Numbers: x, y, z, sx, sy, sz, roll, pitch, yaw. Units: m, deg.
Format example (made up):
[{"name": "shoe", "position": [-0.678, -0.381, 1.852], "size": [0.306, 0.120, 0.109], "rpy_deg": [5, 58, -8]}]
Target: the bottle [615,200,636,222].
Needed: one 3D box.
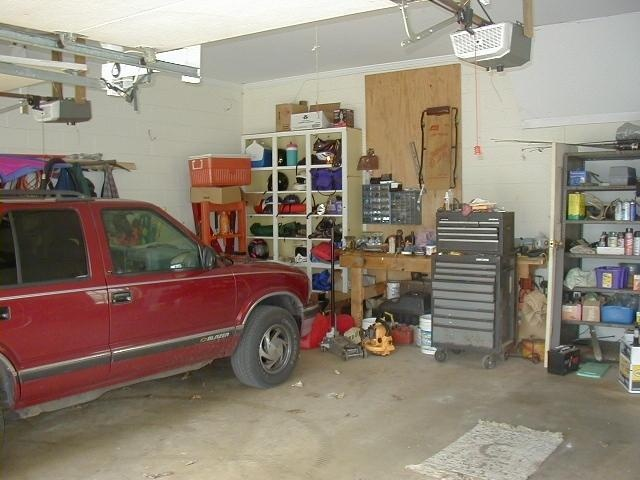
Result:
[{"name": "bottle", "position": [3.112, -0.306, 5.095], "size": [0.240, 0.204, 0.224], "rpy_deg": [2, 2, 25]}]

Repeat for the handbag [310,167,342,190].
[{"name": "handbag", "position": [0.106, -0.919, 7.466], "size": [0.446, 0.352, 0.160], "rpy_deg": [3, 9, 21]}]

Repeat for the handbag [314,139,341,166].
[{"name": "handbag", "position": [0.183, -1.327, 7.571], "size": [0.545, 0.369, 0.369], "rpy_deg": [0, -7, 7]}]

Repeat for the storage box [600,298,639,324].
[{"name": "storage box", "position": [3.137, 0.751, 5.221], "size": [0.295, 0.226, 0.278], "rpy_deg": [4, 8, 38]}]

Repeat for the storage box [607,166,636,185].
[{"name": "storage box", "position": [3.186, -0.670, 5.279], "size": [0.228, 0.221, 0.400], "rpy_deg": [-2, 1, 44]}]

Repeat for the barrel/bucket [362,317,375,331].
[{"name": "barrel/bucket", "position": [0.583, 1.014, 6.042], "size": [0.162, 0.091, 0.142], "rpy_deg": [-2, 6, 3]}]

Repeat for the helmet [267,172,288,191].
[{"name": "helmet", "position": [-0.662, -0.945, 8.056], "size": [0.394, 0.312, 0.274], "rpy_deg": [3, -4, -22]}]

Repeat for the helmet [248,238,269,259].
[{"name": "helmet", "position": [-1.004, 0.163, 8.199], "size": [0.451, 0.336, 0.314], "rpy_deg": [-8, 18, -17]}]

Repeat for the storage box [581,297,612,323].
[{"name": "storage box", "position": [2.898, 0.730, 5.334], "size": [0.359, 0.293, 0.248], "rpy_deg": [2, 6, 33]}]

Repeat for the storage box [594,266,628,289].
[{"name": "storage box", "position": [3.050, 0.389, 5.223], "size": [0.280, 0.223, 0.214], "rpy_deg": [3, 7, 34]}]

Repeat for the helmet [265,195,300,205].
[{"name": "helmet", "position": [-0.601, -0.648, 7.955], "size": [0.381, 0.090, 0.252], "rpy_deg": [1, 2, 26]}]

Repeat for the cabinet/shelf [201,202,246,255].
[{"name": "cabinet/shelf", "position": [-1.489, -0.157, 7.663], "size": [0.543, 0.674, 0.595], "rpy_deg": [-5, 14, 31]}]

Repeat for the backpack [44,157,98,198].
[{"name": "backpack", "position": [-2.893, -0.608, 5.674], "size": [0.584, 0.470, 0.352], "rpy_deg": [-4, -2, -20]}]

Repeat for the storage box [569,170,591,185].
[{"name": "storage box", "position": [2.739, -0.653, 5.238], "size": [0.195, 0.146, 0.178], "rpy_deg": [1, 6, 21]}]

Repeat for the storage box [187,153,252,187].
[{"name": "storage box", "position": [-1.541, -1.049, 7.475], "size": [0.867, 0.324, 0.800], "rpy_deg": [-4, 6, -25]}]

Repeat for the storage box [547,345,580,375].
[{"name": "storage box", "position": [2.499, 1.220, 5.117], "size": [0.361, 0.228, 0.189], "rpy_deg": [-2, 2, -43]}]

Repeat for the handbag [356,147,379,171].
[{"name": "handbag", "position": [0.703, -1.214, 7.412], "size": [0.346, 0.345, 0.250], "rpy_deg": [5, 8, 40]}]

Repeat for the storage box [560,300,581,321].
[{"name": "storage box", "position": [2.688, 0.759, 5.337], "size": [0.160, 0.230, 0.276], "rpy_deg": [1, -2, -44]}]
